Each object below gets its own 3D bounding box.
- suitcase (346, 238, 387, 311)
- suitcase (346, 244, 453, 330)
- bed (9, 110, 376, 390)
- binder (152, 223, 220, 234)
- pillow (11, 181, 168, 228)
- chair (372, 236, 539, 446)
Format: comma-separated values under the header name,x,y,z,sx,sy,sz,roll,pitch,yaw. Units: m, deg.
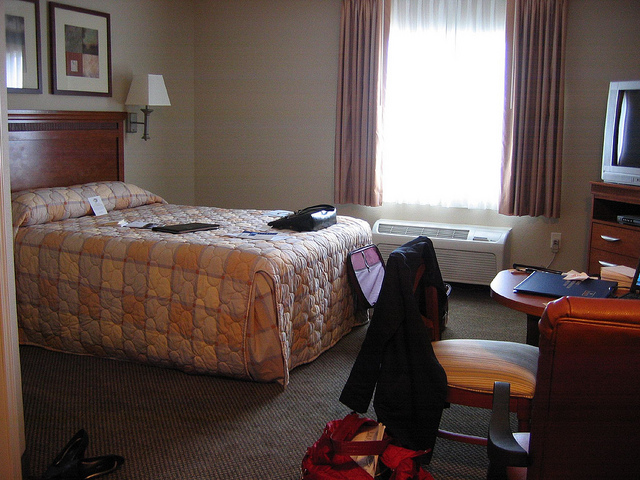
name,x,y,z,sx,sy,sz,roll,pitch,yaw
suitcase,0.338,0.239,3.626,0.366,0.389,0.096,6,-21,-41
suitcase,0.574,0.190,3.672,0.568,0.697,0.650,9,10,14
bed,-1.070,0.130,3.719,2.328,1.675,1.851,3,9,17
binder,-0.914,-0.083,3.374,0.448,0.034,0.221,-10,19,-40
pillow,-1.884,-0.308,3.808,0.285,0.212,1.198,8,15,22
chair,0.614,0.453,2.139,0.654,0.877,0.560,2,10,28
